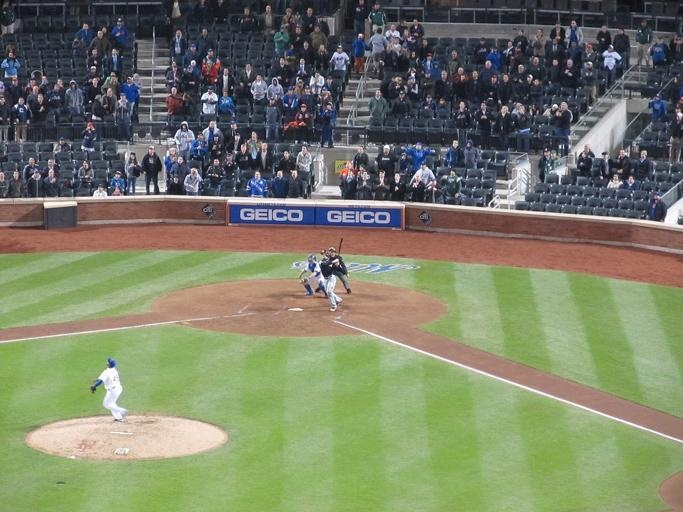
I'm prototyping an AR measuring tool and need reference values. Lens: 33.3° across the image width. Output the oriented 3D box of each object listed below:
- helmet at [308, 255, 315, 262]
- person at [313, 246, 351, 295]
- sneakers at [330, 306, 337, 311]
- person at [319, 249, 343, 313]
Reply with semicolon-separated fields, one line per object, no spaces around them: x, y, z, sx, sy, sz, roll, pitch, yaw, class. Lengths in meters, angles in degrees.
-0.869;0.115;33.423;0.237;0.282;0.162;3;24;2;helmet
-0.298;0.522;34.693;1.353;2.512;0.823;-4;59;1;person
-0.240;1.552;33.437;0.167;0.178;0.437;-1;1;6;sneakers
-0.328;0.734;33.589;0.689;1.794;1.059;5;20;0;person
